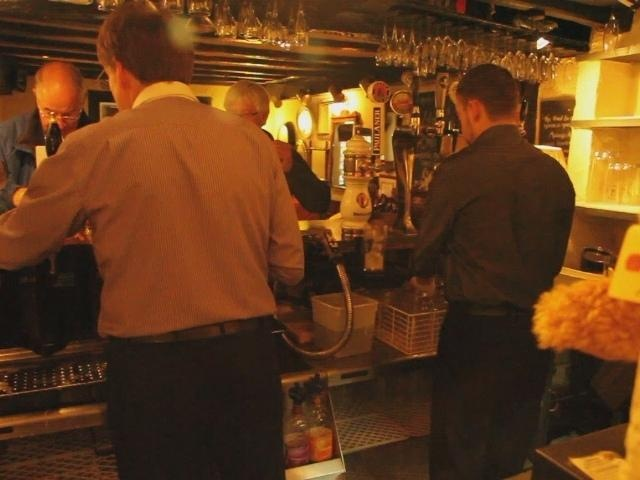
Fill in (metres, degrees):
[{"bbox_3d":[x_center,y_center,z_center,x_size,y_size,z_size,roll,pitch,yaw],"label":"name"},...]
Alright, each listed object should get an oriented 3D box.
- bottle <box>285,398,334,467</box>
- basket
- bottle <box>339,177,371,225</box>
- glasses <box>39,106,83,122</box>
[{"bbox_3d":[-0.037,0.874,2.694,0.187,0.284,0.308,0,1,-1],"label":"bottle"},{"bbox_3d":[0.439,0.405,2.892,0.257,0.151,0.251,0,3,-17],"label":"basket"},{"bbox_3d":[0.204,-0.227,3.356,0.193,0.262,0.190,1,8,0],"label":"bottle"},{"bbox_3d":[-1.250,-0.610,2.862,0.147,0.044,0.148,-8,23,-33],"label":"glasses"}]
